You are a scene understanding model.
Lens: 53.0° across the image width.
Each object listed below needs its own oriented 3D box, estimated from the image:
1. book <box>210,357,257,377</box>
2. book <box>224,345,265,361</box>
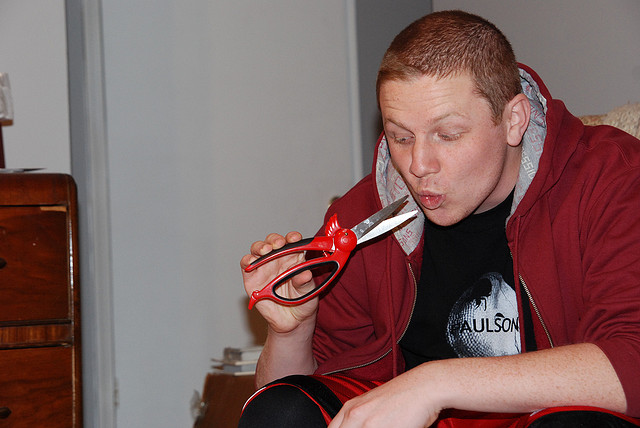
[{"bbox_3d":[-0.315,0.591,2.455,0.095,0.023,0.092,2,1,35],"label":"book"},{"bbox_3d":[-0.294,0.537,2.466,0.142,0.034,0.144,2,-3,-35],"label":"book"}]
